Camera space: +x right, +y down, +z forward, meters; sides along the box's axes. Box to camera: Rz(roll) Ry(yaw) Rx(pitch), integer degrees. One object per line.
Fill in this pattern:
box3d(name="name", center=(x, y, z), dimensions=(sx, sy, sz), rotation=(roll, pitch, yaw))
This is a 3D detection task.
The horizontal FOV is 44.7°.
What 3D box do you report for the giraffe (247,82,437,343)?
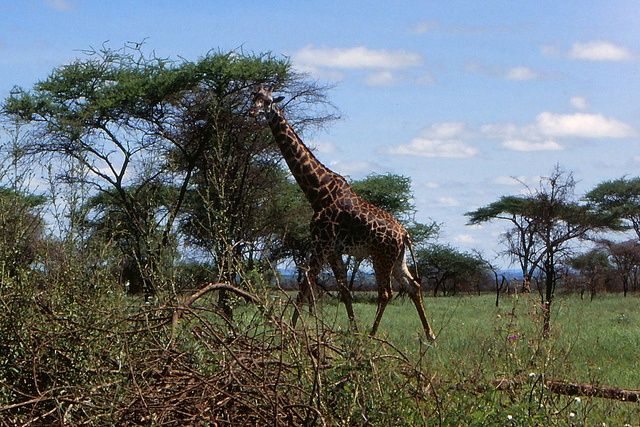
box3d(name="giraffe", center=(0.216, 0.002, 16.921), dimensions=(3.359, 5.062, 1.279), rotation=(13, 2, 17))
